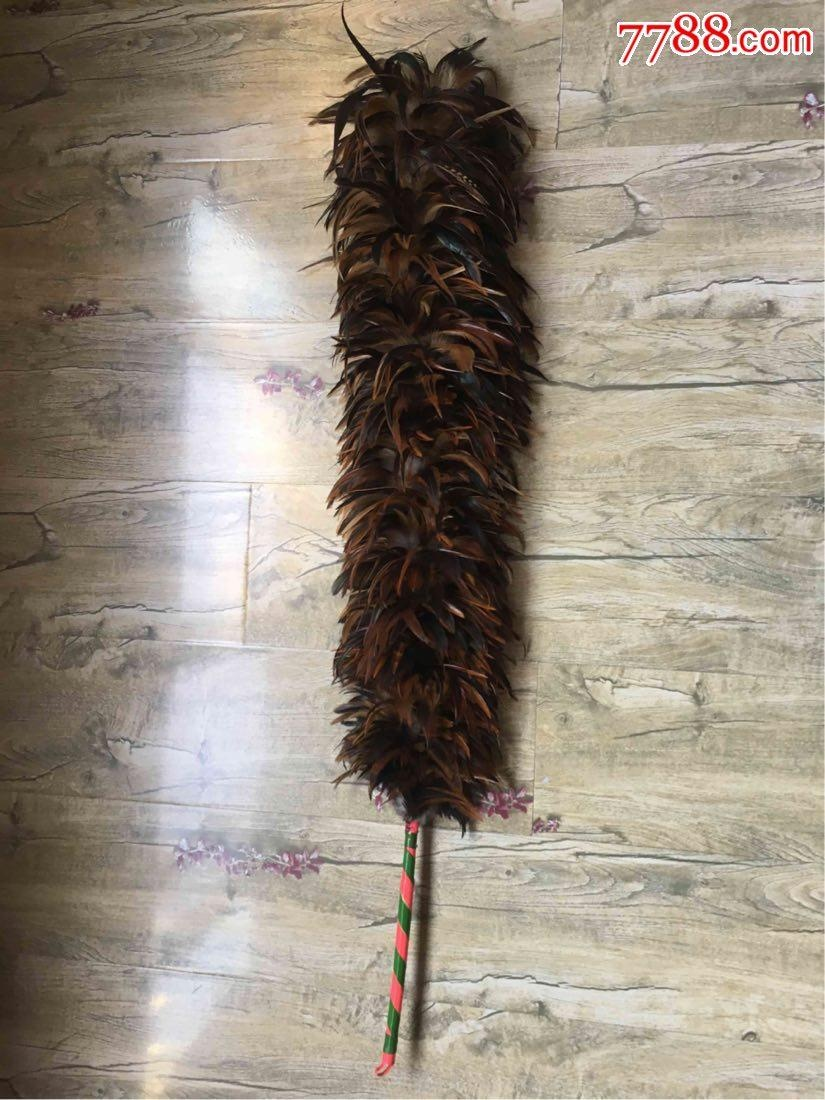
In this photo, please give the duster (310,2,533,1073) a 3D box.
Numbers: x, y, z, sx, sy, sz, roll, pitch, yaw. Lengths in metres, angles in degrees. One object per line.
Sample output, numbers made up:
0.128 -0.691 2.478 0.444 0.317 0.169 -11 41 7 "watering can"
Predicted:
-0.014 -0.027 1.549 0.390 0.340 1.233 1 88 -7 "duster"
